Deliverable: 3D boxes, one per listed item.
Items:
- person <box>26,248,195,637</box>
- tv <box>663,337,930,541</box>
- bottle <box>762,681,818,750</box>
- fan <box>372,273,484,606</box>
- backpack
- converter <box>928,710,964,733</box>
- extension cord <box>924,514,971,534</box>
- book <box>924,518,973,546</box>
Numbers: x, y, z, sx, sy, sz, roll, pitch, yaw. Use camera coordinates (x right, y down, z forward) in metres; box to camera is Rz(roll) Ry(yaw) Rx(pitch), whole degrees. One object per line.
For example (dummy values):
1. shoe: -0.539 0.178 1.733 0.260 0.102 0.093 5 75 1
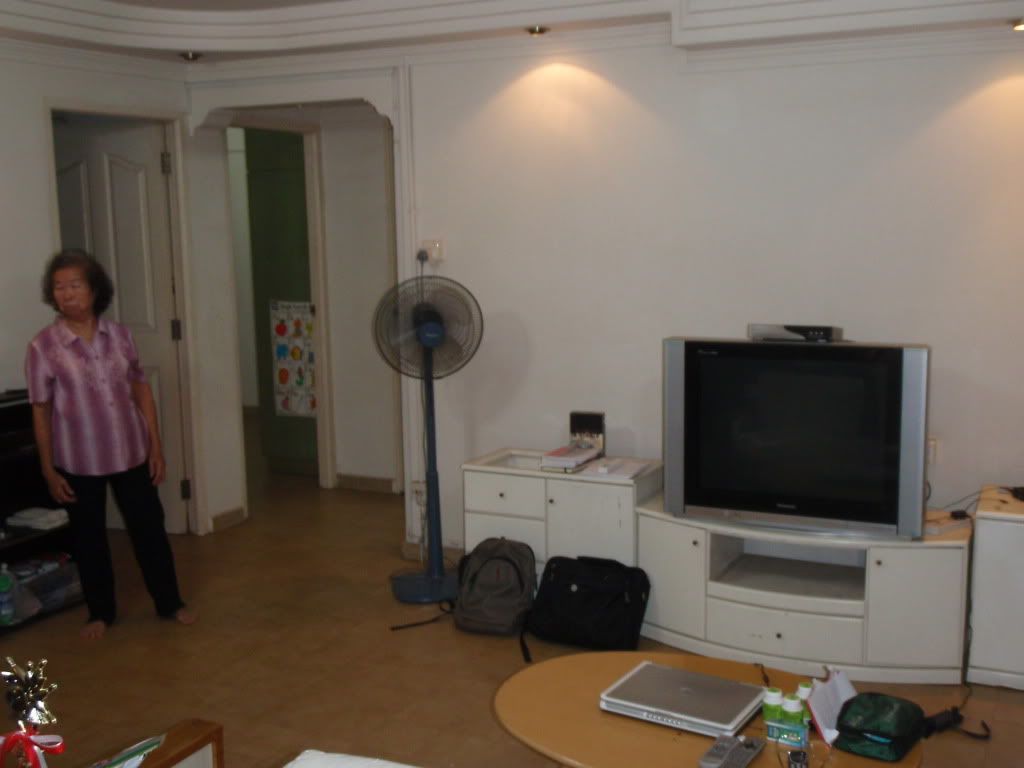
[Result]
1. person: -2.146 0.314 4.702 0.611 1.991 0.429 -8 15 -26
2. tv: 1.399 0.181 4.593 1.290 0.923 0.782 1 15 11
3. bottle: 0.882 1.072 2.920 0.204 0.203 0.117 -1 1 25
4. fan: -0.488 0.298 5.058 0.501 1.797 0.574 11 18 42
5. backpack: -0.115 1.079 4.779 0.400 0.477 0.170 6 -13 14
6. converter: 1.826 1.424 3.793 0.169 0.081 0.071 -7 -11 -36
7. extension cord: 2.086 0.679 4.313 0.116 0.030 0.128 1 9 34
8. book: 2.057 0.698 4.246 0.196 0.041 0.422 6 15 28
